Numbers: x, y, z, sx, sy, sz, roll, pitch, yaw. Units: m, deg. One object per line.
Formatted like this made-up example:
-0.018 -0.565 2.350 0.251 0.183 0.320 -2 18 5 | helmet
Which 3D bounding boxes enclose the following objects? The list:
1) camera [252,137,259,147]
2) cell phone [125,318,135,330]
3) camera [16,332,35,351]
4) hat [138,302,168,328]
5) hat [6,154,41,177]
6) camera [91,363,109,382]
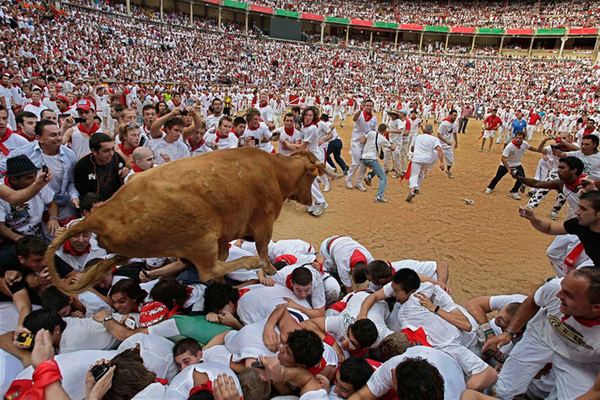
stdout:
-1.132 -1.536 12.380 0.084 0.276 0.287 -17 -24 32 | camera
-2.812 2.067 7.740 0.170 0.177 0.103 9 21 8 | cell phone
-4.292 2.201 7.248 0.291 0.215 0.127 4 21 -5 | camera
-2.478 1.964 7.904 0.464 0.290 0.370 5 20 -3 | hat
-4.912 -0.583 8.232 0.426 0.219 0.381 -17 13 4 | hat
-2.940 2.559 6.863 0.258 0.181 0.166 -4 22 -25 | camera
